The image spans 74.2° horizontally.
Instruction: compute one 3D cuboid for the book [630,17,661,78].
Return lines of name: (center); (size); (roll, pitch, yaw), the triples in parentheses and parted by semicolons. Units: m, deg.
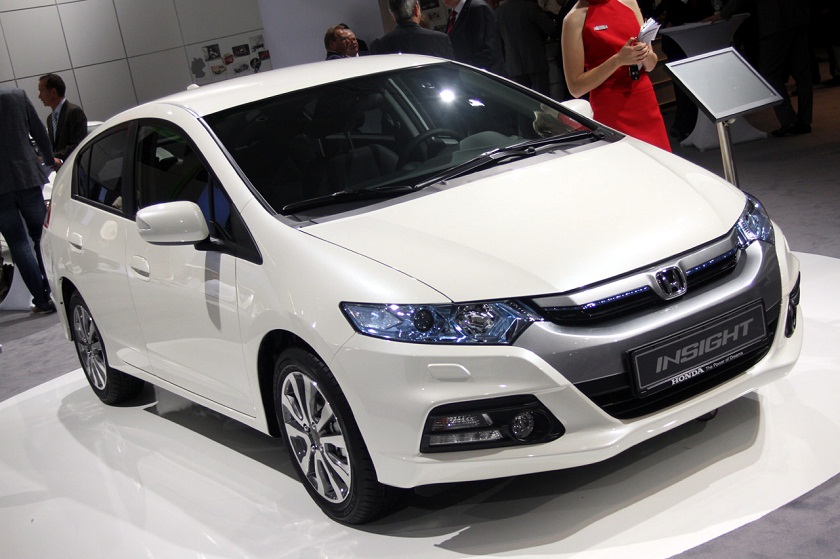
book: (1.426, -1.428, 3.376); (0.334, 0.102, 0.340); (-49, -5, 29)
